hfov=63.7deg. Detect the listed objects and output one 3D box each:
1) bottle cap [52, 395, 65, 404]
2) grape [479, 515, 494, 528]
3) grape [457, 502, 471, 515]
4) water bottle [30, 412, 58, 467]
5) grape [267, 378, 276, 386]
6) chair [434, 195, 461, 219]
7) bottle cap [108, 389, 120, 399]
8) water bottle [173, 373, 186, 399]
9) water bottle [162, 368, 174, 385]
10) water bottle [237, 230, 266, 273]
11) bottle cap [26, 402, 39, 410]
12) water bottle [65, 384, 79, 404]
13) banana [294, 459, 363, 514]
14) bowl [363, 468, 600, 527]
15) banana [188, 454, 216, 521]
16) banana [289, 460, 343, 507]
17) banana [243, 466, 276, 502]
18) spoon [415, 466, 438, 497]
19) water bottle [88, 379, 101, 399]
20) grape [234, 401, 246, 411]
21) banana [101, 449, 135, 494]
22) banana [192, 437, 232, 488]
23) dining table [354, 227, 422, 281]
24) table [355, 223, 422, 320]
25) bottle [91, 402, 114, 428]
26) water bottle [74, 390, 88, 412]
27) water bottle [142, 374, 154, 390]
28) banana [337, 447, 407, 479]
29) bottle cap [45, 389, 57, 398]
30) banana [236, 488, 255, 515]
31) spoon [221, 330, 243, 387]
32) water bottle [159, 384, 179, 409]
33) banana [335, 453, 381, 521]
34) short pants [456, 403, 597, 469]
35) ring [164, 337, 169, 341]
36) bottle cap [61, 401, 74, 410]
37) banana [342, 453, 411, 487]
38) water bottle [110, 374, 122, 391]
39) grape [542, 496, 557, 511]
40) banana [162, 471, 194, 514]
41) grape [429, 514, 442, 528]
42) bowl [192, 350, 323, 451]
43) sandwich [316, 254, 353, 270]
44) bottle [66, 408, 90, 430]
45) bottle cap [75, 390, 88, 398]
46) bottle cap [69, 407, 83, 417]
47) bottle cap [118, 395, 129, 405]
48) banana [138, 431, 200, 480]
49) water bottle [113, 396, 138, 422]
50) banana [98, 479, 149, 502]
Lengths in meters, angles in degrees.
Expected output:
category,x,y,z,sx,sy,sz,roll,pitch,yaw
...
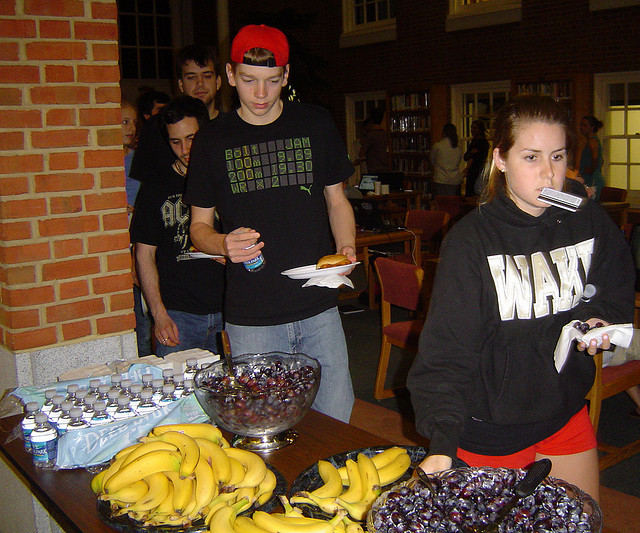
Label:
category,x,y,z,sx,sy,sz,roll,pitch,yaw
bottle cap,-0.788,0.401,1.557,0.024,0.014,0.024,1,3,2
grape,0.294,0.451,0.915,0.021,0.008,0.025,3,10,22
grape,0.263,0.437,0.934,0.015,0.009,0.018,-7,24,16
water bottle,-0.770,0.495,1.450,0.061,0.142,0.117,-11,13,-44
grape,-0.132,0.319,1.430,0.021,0.012,0.021,-3,10,-7
chair,2.220,-1.050,8.899,0.348,0.460,0.401,18,27,40
bottle cap,-0.628,0.391,1.579,0.027,0.015,0.027,1,3,1
water bottle,-0.444,0.381,1.632,0.039,0.070,0.040,3,17,-1
water bottle,-0.506,0.370,1.738,0.041,0.039,0.041,3,7,9
water bottle,-0.233,-0.050,1.790,0.079,0.169,0.156,-2,10,-2
bottle cap,-0.837,0.407,1.506,0.024,0.014,0.024,2,3,0
water bottle,-0.778,0.407,1.630,0.044,0.047,0.045,1,1,-10
banana,0.042,0.503,1.184,0.129,0.049,0.155,7,13,39
bowl,0.296,0.425,0.963,0.413,0.064,0.162,-1,10,3
banana,-0.265,0.488,1.142,0.040,0.029,0.110,-2,50,0
banana,0.011,0.520,1.211,0.092,0.038,0.156,19,21,15
banana,-0.142,0.544,1.260,0.080,0.042,0.153,-9,-3,-13
spoon,0.208,0.409,0.993,0.011,0.011,0.076,19,24,-16
water bottle,-0.723,0.395,1.660,0.049,0.054,0.048,1,1,-8
grape,-0.210,0.370,1.364,0.024,0.013,0.024,3,-11,36
banana,-0.479,0.492,1.245,0.105,0.037,0.027,-47,22,-29
banana,-0.249,0.464,1.223,0.057,0.027,0.111,-11,33,-33
dining table,0.756,-0.289,6.435,0.700,0.633,0.687,-10,19,-26
table,0.730,0.042,5.482,0.920,0.860,0.662,-15,24,-31
bottle,-0.632,0.432,1.496,0.035,0.063,0.034,3,27,-1
water bottle,-0.746,0.424,1.612,0.044,0.047,0.044,1,3,-6
water bottle,-0.558,0.375,1.679,0.039,0.044,0.038,1,-1,-18
banana,0.132,0.491,1.281,0.145,0.046,0.034,-16,7,-26
bottle cap,-0.852,0.398,1.634,0.028,0.015,0.028,1,3,-2
banana,-0.165,0.529,1.174,0.023,0.020,0.068,15,43,15
spoon,-0.267,0.289,1.537,0.050,0.206,0.054,-9,-11,-19
water bottle,-0.463,0.395,1.583,0.053,0.096,0.053,1,15,0
banana,0.084,0.493,1.175,0.055,0.111,0.176,-21,19,22
short pants,0.621,0.516,1.560,0.370,0.091,0.225,-16,-6,-13
ring,-0.723,0.343,2.435,0.014,0.014,0.005,-10,52,-2
bottle cap,-0.749,0.413,1.534,0.023,0.014,0.023,2,3,8
banana,0.137,0.523,1.292,0.212,0.074,0.050,-20,10,27
water bottle,-0.659,0.377,1.678,0.041,0.039,0.041,1,3,-7
grape,0.413,0.428,0.931,0.020,0.015,0.009,-29,0,-2
banana,-0.306,0.508,1.150,0.054,0.024,0.098,-22,37,-18
grape,0.203,0.448,0.908,0.021,0.011,0.023,-2,10,-6
bowl,-0.150,0.375,1.486,0.298,0.178,0.310,-1,5,0
sandwich,0.051,-0.019,1.786,0.127,0.035,0.137,-1,10,0
bottle,-0.693,0.438,1.483,0.066,0.050,0.049,-2,10,-5
bottle cap,-0.751,0.402,1.630,0.023,0.013,0.023,1,0,10
bottle cap,-0.698,0.420,1.482,0.025,0.015,0.026,2,2,20
bottle cap,-0.582,0.397,1.531,0.031,0.023,0.023,-3,10,-8
banana,-0.328,0.437,1.227,0.070,0.026,0.122,-9,17,-28
water bottle,-0.572,0.422,1.523,0.039,0.069,0.038,2,20,-1
banana,-0.431,0.490,1.136,0.093,0.024,0.044,2,50,-32
